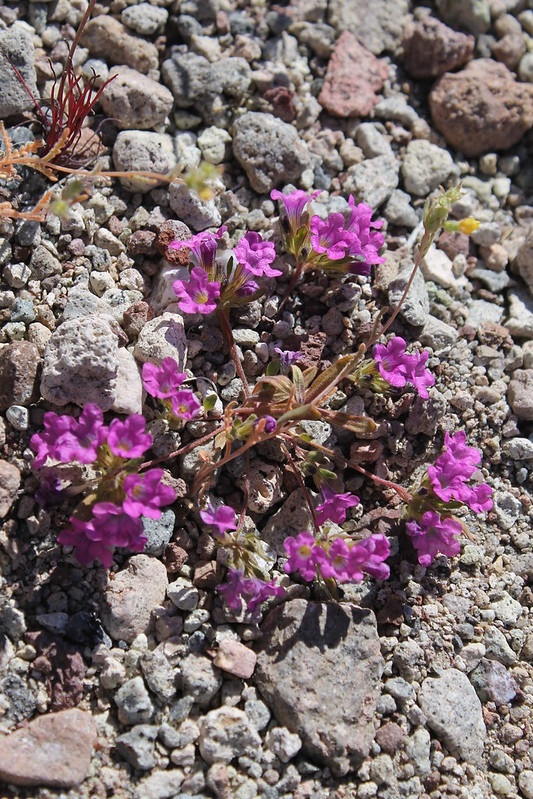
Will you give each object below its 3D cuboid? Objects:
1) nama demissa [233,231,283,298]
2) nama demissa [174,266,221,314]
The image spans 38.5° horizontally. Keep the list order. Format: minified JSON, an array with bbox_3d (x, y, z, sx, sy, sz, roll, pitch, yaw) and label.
[{"bbox_3d":[-0.079,-0.597,3.250,0.244,0.132,0.241,26,59,-35],"label":"nama demissa"},{"bbox_3d":[-0.281,-0.426,3.110,0.198,0.176,0.207,2,45,-14],"label":"nama demissa"}]
